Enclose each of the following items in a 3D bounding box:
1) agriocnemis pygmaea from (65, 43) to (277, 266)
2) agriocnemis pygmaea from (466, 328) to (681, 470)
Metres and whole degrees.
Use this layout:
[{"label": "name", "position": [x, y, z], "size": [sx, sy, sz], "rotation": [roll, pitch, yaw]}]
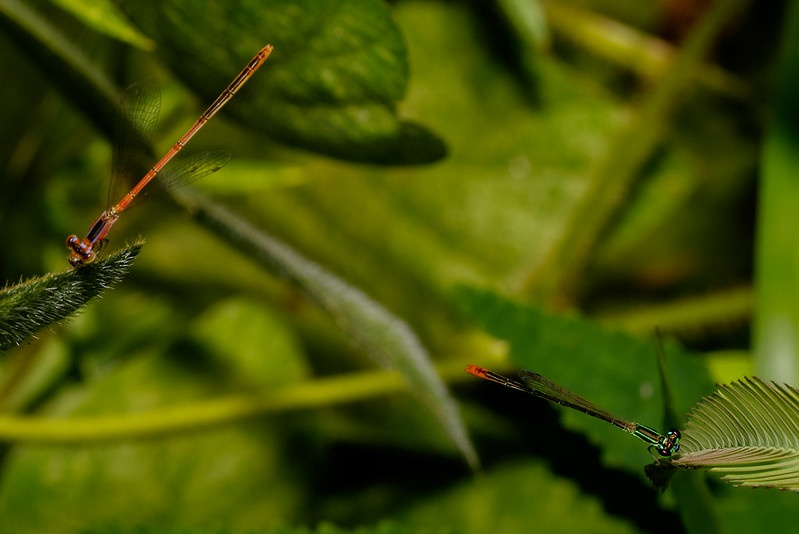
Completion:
[{"label": "agriocnemis pygmaea", "position": [-0.244, -0.122, 0.959], "size": [0.051, 0.252, 0.043], "rotation": [40, 2, 32]}, {"label": "agriocnemis pygmaea", "position": [0.153, 0.137, 0.944], "size": [0.274, 0.072, 0.083], "rotation": [27, -2, 6]}]
